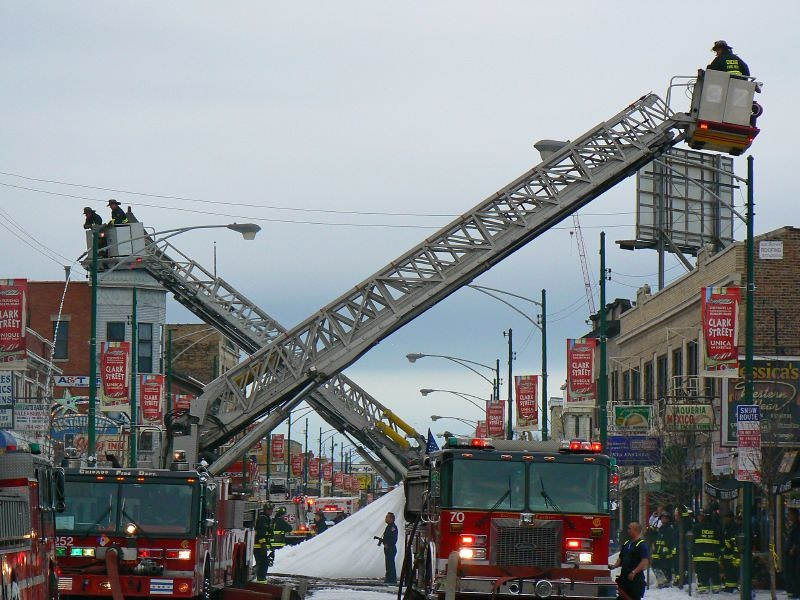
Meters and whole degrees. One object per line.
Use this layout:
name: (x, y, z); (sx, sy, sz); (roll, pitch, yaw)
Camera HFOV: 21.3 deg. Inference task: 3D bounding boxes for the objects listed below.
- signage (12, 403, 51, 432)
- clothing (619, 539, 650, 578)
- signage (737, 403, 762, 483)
signage: (-11.406, 3.643, 65.064); (1.027, 0.611, 1.020); (1, -8, -9)
clothing: (5.491, 6.144, 50.377); (0.424, 1.001, 0.918); (12, -20, -33)
signage: (8.872, 3.672, 54.136); (0.583, 1.981, 0.701); (-2, -17, 7)
